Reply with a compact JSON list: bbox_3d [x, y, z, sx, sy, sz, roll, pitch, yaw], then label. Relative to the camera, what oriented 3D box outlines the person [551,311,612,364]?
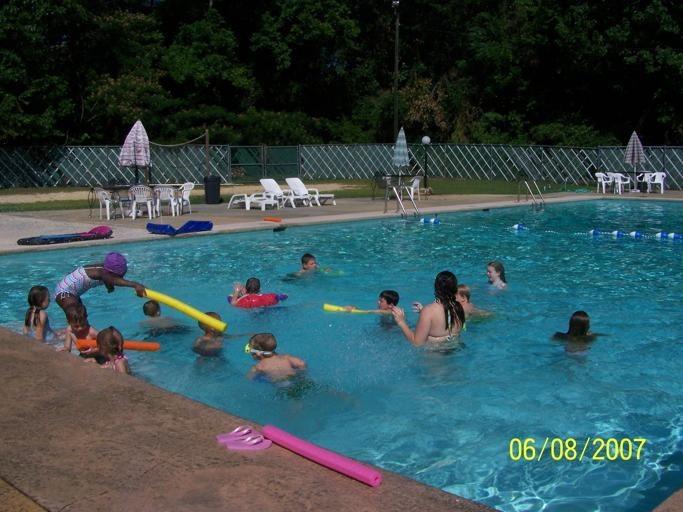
[{"bbox_3d":[3.216,1.023,8.372,0.688,0.448,1.122,6,11,24],"label":"person"}]

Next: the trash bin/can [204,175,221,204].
[{"bbox_3d":[-4.950,-2.509,23.357,0.564,1.062,0.526,-3,12,-20],"label":"trash bin/can"}]

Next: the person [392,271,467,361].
[{"bbox_3d":[1.212,0.862,8.608,0.665,1.389,0.698,-12,37,-21],"label":"person"}]

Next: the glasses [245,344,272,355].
[{"bbox_3d":[-1.005,1.119,7.321,0.282,0.074,0.210,5,7,14],"label":"glasses"}]
